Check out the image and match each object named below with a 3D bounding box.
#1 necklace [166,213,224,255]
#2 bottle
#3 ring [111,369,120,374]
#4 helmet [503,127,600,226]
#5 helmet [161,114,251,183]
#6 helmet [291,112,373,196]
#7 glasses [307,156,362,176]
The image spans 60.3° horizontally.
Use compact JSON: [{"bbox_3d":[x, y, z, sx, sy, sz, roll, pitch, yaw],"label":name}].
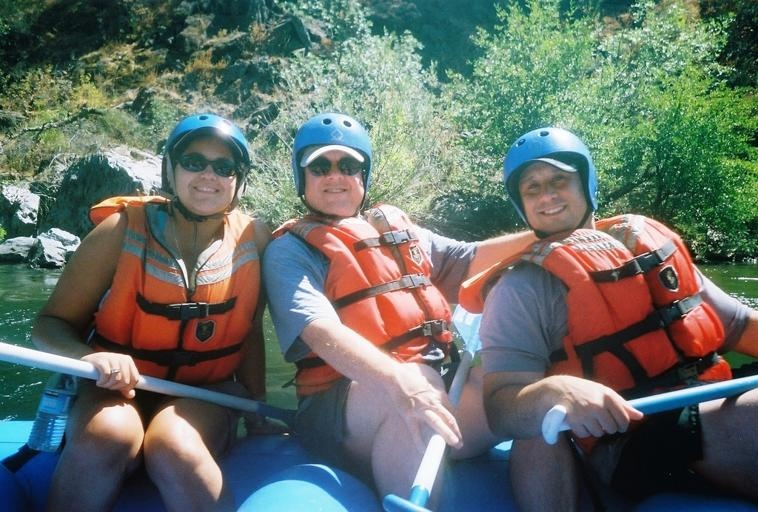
[{"bbox_3d":[-1.115,-0.122,3.966,0.230,0.290,0.218,6,8,-36],"label":"necklace"},{"bbox_3d":[-1.726,0.826,3.466,0.212,0.424,0.115,5,0,-29],"label":"bottle"},{"bbox_3d":[-1.383,0.610,3.417,0.047,0.028,0.011,5,0,-25],"label":"ring"},{"bbox_3d":[1.024,-0.517,3.990,0.450,0.471,0.622,-22,3,17],"label":"helmet"},{"bbox_3d":[-1.066,-0.719,4.130,0.365,0.529,0.385,1,11,-4],"label":"helmet"},{"bbox_3d":[-0.297,-0.664,4.279,0.428,0.559,0.560,0,4,-5],"label":"helmet"},{"bbox_3d":[-0.265,-0.555,3.967,0.174,0.055,0.175,1,-20,-5],"label":"glasses"}]
